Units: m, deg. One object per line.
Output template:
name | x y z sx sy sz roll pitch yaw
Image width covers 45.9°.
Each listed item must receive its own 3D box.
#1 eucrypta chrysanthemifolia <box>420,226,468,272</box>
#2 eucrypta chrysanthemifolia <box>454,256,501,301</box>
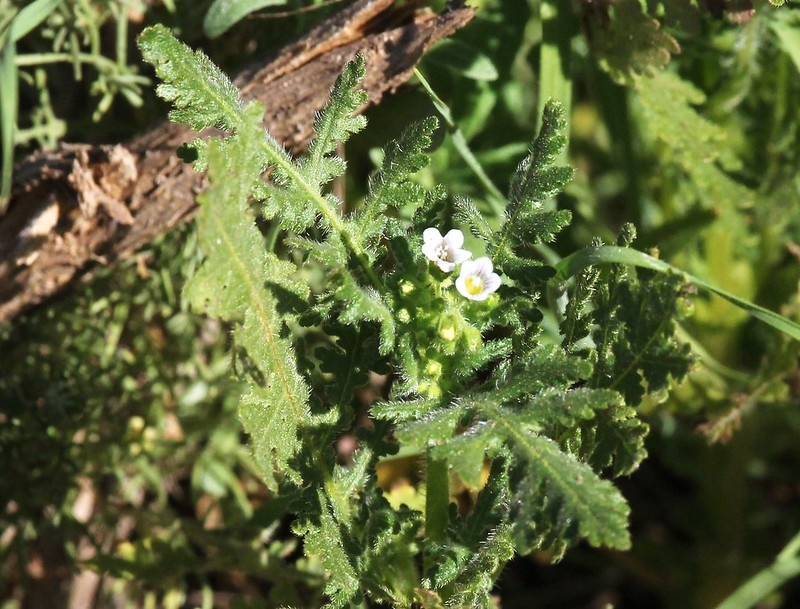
eucrypta chrysanthemifolia | 0.083 -0.106 1.795 0.078 0.085 0.042 -34 1 -10
eucrypta chrysanthemifolia | 0.141 -0.049 1.780 0.058 0.028 0.067 -13 11 -12
